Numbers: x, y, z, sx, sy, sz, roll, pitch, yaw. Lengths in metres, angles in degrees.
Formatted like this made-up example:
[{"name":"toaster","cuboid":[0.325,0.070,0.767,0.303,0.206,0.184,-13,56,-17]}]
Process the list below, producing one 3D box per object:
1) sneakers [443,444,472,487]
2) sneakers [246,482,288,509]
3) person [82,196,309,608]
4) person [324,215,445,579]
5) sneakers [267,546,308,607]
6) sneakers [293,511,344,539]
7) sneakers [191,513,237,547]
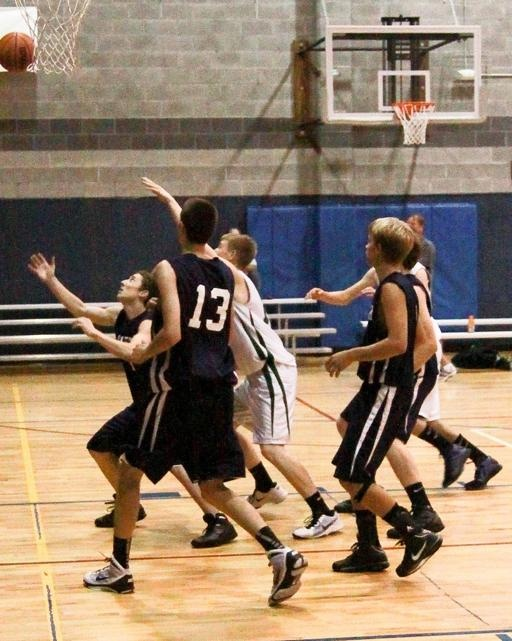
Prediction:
[{"name":"sneakers","cuboid":[1.138,0.802,5.702,0.135,0.282,0.100,12,6,-2]},{"name":"sneakers","cuboid":[0.062,0.951,5.345,0.281,0.089,0.128,-17,-35,34]},{"name":"person","cuboid":[-0.262,0.341,4.135,0.938,1.685,0.462,2,7,2]},{"name":"person","cuboid":[0.564,0.351,4.388,0.520,1.596,0.433,2,7,5]},{"name":"sneakers","cuboid":[0.120,1.050,4.092,0.155,0.296,0.234,1,7,0]},{"name":"sneakers","cuboid":[0.319,1.036,5.039,0.298,0.119,0.098,-10,2,-15]},{"name":"sneakers","cuboid":[-0.253,1.046,4.906,0.275,0.158,0.098,0,-13,-46]}]
